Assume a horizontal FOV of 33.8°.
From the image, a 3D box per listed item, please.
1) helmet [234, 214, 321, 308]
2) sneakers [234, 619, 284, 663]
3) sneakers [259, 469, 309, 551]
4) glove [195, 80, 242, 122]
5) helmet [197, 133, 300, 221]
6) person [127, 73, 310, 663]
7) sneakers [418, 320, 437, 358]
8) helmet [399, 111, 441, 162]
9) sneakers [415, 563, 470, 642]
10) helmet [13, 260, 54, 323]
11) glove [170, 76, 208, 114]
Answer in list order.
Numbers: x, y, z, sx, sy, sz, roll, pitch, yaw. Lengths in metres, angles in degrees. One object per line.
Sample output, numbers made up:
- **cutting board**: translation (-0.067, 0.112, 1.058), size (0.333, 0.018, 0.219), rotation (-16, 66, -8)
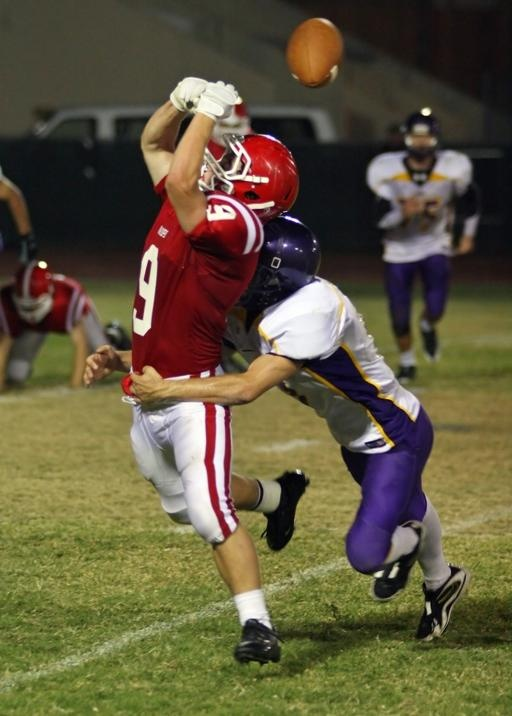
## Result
- **helmet**: translation (0.019, -0.241, 2.100), size (0.273, 0.210, 0.196), rotation (-7, 17, -28)
- **sneakers**: translation (0.011, 0.631, 1.858), size (0.064, 0.070, 0.143), rotation (-2, -15, 9)
- **sneakers**: translation (0.052, 0.466, 2.637), size (0.108, 0.258, 0.132), rotation (12, 6, 40)
- **glove**: translation (-0.090, -0.607, 2.020), size (0.101, 0.052, 0.119), rotation (23, 37, -1)
- **helmet**: translation (-0.035, -0.476, 2.198), size (0.337, 0.197, 0.225), rotation (13, 16, 3)
- **person**: translation (-0.129, 0.006, 2.124), size (0.484, 1.399, 0.773), rotation (4, 9, 1)
- **sneakers**: translation (1.327, -0.139, 6.512), size (0.130, 0.309, 0.144), rotation (-10, 22, 10)
- **helmet**: translation (1.126, -1.540, 5.798), size (0.236, 0.395, 0.328), rotation (5, 9, 8)
- **sneakers**: translation (0.500, 0.679, 2.354), size (0.104, 0.235, 0.087), rotation (45, -29, -23)
- **helmet**: translation (-1.466, -0.450, 5.664), size (0.332, 0.370, 0.350), rotation (1, -27, 1)
- **glove**: translation (-0.171, -0.666, 2.119), size (0.092, 0.044, 0.110), rotation (15, -25, -18)
